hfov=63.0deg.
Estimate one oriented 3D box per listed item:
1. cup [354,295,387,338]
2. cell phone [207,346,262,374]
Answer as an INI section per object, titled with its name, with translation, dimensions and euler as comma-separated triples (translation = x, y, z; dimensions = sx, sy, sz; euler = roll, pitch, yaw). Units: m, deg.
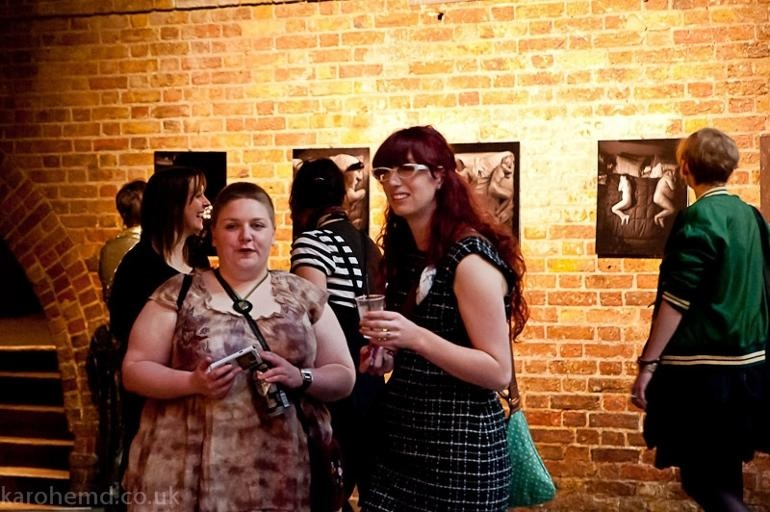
[cup]
translation = -0.052, 0.235, 2.791
dimensions = 0.111, 0.109, 0.110
euler = -3, 0, 0
[cell phone]
translation = -0.650, 0.468, 2.757
dimensions = 0.145, 0.032, 0.143
euler = -22, -23, 9
